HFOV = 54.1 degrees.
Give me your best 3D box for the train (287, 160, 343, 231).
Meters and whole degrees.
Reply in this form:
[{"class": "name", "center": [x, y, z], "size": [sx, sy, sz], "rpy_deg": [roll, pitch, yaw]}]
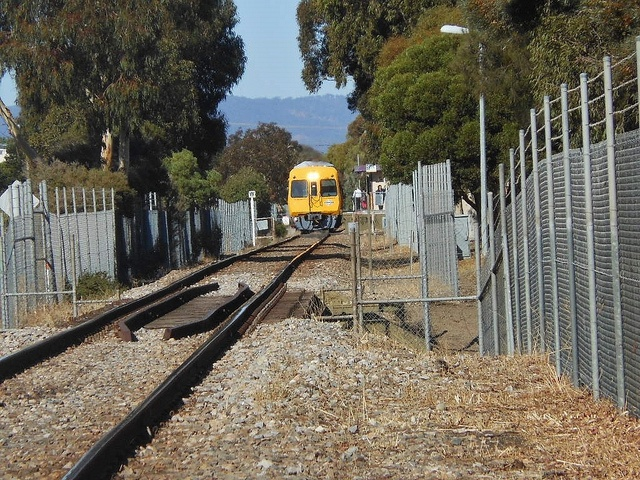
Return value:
[{"class": "train", "center": [-0.279, -2.320, 34.203], "size": [2.813, 3.769, 1.291], "rpy_deg": [-2, 3, -1]}]
